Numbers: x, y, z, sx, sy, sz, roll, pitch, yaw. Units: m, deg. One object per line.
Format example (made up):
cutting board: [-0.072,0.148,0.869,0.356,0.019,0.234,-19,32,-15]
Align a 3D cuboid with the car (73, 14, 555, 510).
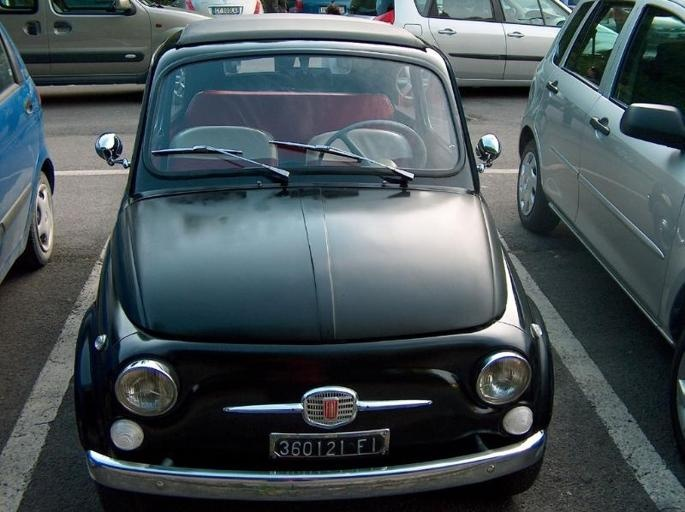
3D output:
car: [-0.164,-0.202,3.310,2.182,1.693,2.950,-3,34,0]
